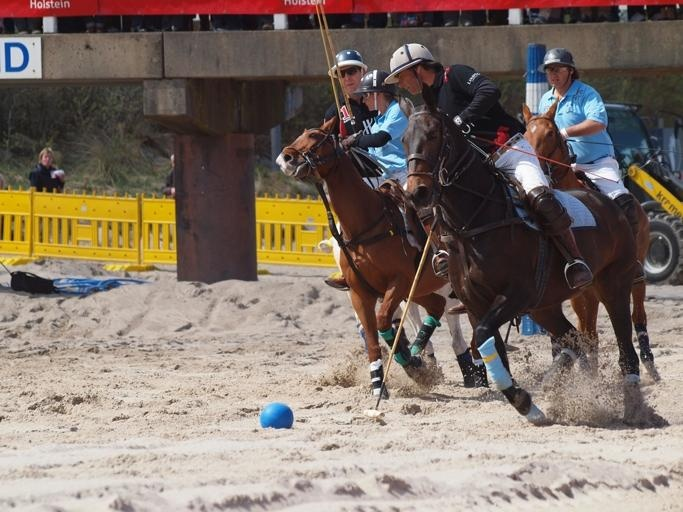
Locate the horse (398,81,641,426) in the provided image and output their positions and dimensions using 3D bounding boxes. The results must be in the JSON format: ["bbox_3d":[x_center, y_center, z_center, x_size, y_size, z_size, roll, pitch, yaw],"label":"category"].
[{"bbox_3d":[2.426,0.269,18.774,4.098,3.693,1.210,2,-9,-39],"label":"horse"}]

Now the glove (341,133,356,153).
[{"bbox_3d":[0.082,-1.445,19.672,0.134,0.246,0.068,30,-17,33],"label":"glove"}]

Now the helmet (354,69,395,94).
[{"bbox_3d":[0.446,-2.197,19.874,0.346,0.249,0.307,0,3,-6],"label":"helmet"}]
